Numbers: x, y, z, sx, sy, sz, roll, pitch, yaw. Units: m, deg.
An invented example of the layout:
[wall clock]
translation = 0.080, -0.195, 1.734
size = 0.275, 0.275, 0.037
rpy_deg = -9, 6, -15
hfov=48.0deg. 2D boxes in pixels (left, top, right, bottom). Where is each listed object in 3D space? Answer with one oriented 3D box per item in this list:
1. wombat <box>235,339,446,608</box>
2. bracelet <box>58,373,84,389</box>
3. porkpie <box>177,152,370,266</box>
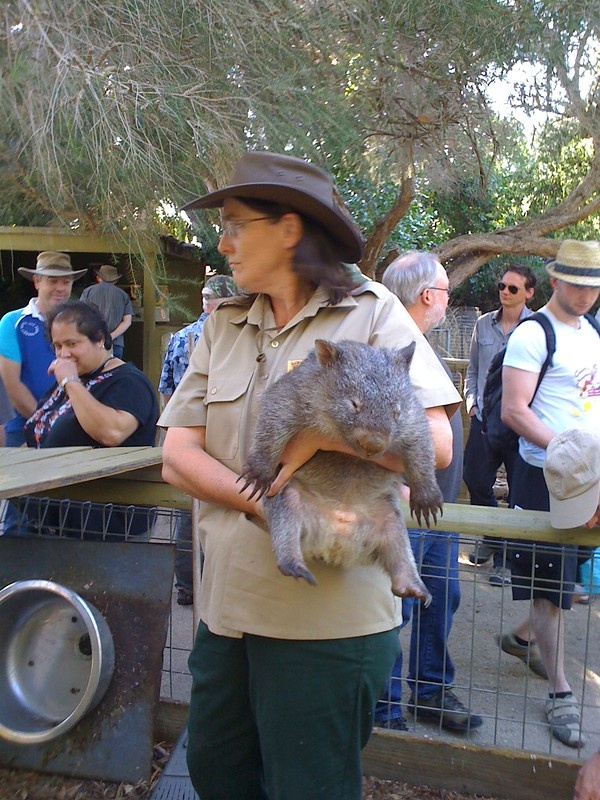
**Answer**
[wombat]
translation = 0.109, 0.172, 1.735
size = 0.516, 0.646, 0.414
rpy_deg = 0, 6, -5
[bracelet]
translation = -1.236, -0.082, 3.659
size = 0.118, 0.068, 0.109
rpy_deg = 3, -25, -36
[porkpie]
translation = -0.023, -0.470, 1.834
size = 0.400, 0.149, 0.318
rpy_deg = 23, -6, -17
